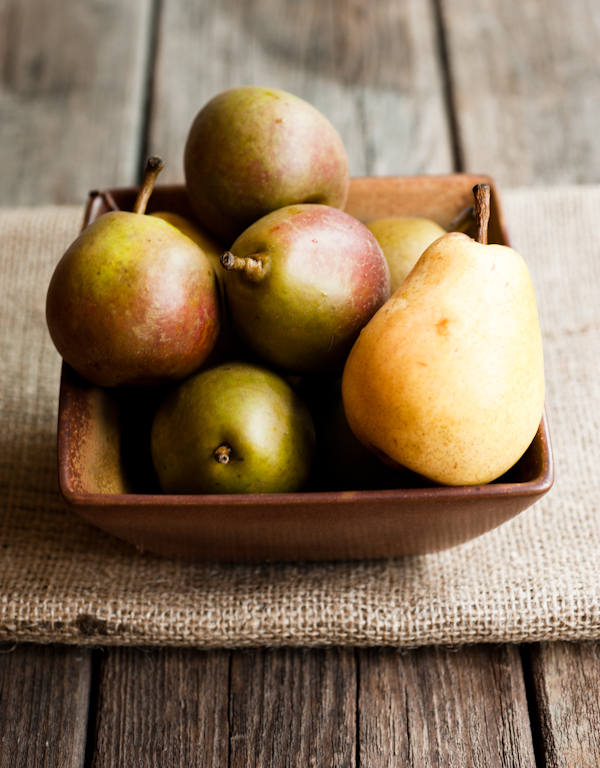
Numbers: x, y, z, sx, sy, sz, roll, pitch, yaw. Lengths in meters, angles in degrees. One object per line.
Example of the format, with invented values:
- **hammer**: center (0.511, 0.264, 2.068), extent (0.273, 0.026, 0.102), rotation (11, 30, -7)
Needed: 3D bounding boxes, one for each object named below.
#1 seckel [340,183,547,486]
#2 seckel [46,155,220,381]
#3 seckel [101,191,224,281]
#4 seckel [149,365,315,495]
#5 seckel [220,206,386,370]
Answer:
- **seckel**: center (0.103, -0.033, 0.616), extent (0.125, 0.137, 0.196), rotation (13, 95, 32)
- **seckel**: center (-0.110, -0.071, 0.624), extent (0.110, 0.101, 0.151), rotation (4, 92, -17)
- **seckel**: center (-0.091, -0.096, 0.627), extent (0.062, 0.074, 0.063), rotation (-7, 80, 12)
- **seckel**: center (-0.045, 0.020, 0.633), extent (0.086, 0.097, 0.084), rotation (-8, 93, -2)
- **seckel**: center (0.002, -0.058, 0.604), extent (0.065, 0.061, 0.076), rotation (54, 44, -2)
